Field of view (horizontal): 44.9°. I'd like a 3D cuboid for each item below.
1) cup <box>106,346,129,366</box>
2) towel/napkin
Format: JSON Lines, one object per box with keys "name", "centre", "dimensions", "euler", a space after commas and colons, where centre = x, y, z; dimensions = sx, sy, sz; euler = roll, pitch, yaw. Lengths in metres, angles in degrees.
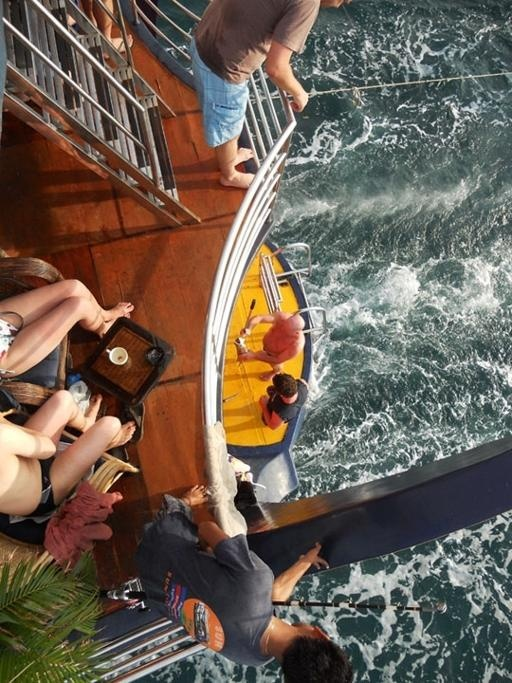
{"name": "cup", "centre": [-1.056, 0.118, 4.749], "dimensions": [0.113, 0.163, 0.111], "euler": [-35, -11, -8]}
{"name": "towel/napkin", "centre": [-1.128, 1.159, 3.989], "dimensions": [0.537, 0.366, 0.208], "euler": [-51, 21, -19]}
